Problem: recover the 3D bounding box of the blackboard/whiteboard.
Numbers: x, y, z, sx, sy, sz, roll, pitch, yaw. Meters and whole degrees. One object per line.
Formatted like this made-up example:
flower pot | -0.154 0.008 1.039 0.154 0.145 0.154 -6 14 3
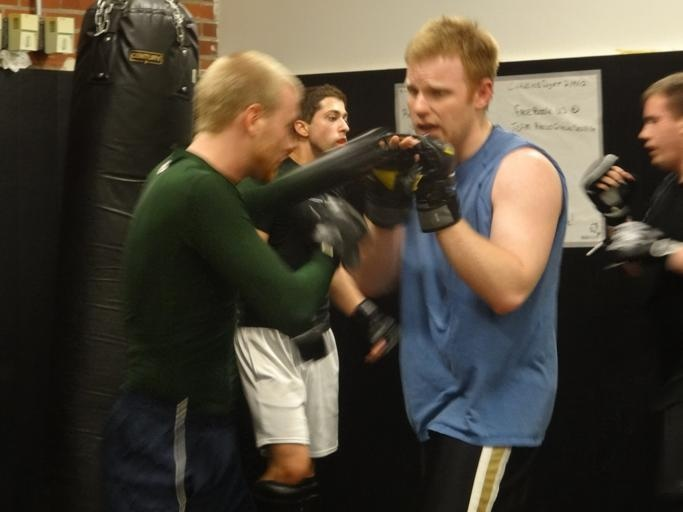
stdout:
blackboard/whiteboard | 0.617 -0.337 2.665 0.957 0.729 0.035 -1 0 14
